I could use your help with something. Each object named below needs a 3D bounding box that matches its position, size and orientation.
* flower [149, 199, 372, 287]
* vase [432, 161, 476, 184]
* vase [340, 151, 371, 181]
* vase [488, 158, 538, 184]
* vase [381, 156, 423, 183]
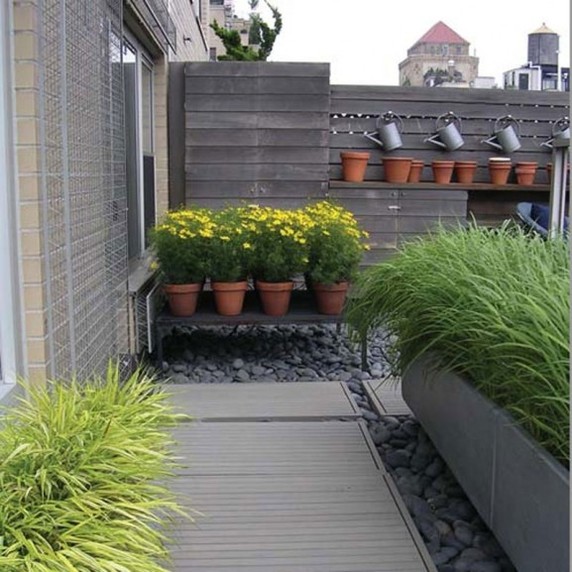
[{"bbox_3d":[-0.175,-0.265,3.477,1.422,0.512,0.517,-1,7,-17],"label":"flower"},{"bbox_3d":[1.720,-1.169,5.295,0.544,0.268,0.319,-6,10,-44],"label":"vase"},{"bbox_3d":[0.689,-1.163,5.075,0.271,0.270,0.291,0,4,-2],"label":"vase"},{"bbox_3d":[2.386,-1.206,5.441,0.546,0.301,0.219,-1,7,-13],"label":"vase"},{"bbox_3d":[1.171,-1.106,5.166,0.312,0.197,0.284,-7,5,-42],"label":"vase"}]
